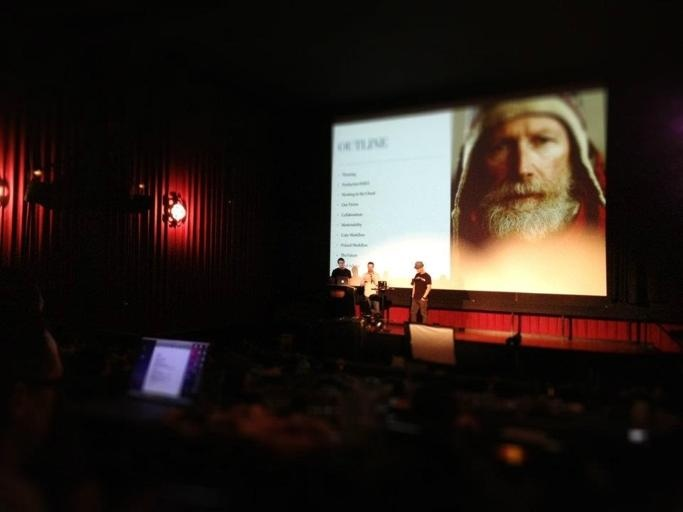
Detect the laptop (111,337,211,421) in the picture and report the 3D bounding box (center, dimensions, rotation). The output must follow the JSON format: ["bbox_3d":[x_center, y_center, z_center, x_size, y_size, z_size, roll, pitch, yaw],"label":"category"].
[{"bbox_3d":[-0.883,0.550,2.454,0.387,0.303,0.367,7,-7,0],"label":"laptop"}]
